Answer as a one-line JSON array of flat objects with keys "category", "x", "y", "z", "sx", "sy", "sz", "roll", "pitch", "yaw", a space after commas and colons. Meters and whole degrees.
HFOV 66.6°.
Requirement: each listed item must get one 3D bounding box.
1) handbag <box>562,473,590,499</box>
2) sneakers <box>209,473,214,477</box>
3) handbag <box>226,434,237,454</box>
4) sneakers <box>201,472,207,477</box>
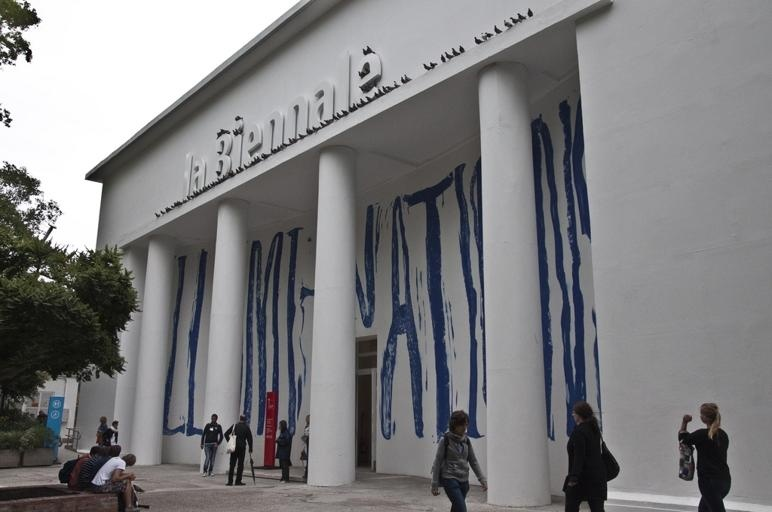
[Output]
[{"category": "handbag", "x": 2.511, "y": 3.066, "z": 7.845, "sx": 0.240, "sy": 0.297, "sz": 0.342, "roll": 4, "pitch": -19, "yaw": -12}, {"category": "sneakers", "x": -5.132, "y": 6.429, "z": 17.265, "sx": 0.231, "sy": 0.170, "sz": 0.077, "roll": -20, "pitch": -29, "yaw": 37}, {"category": "handbag", "x": -3.667, "y": 4.467, "z": 14.037, "sx": 0.201, "sy": 0.409, "sz": 0.382, "roll": 5, "pitch": -18, "yaw": -14}, {"category": "sneakers", "x": -5.321, "y": 6.390, "z": 17.209, "sx": 0.066, "sy": 0.136, "sz": 0.201, "roll": 12, "pitch": -30, "yaw": -31}]
